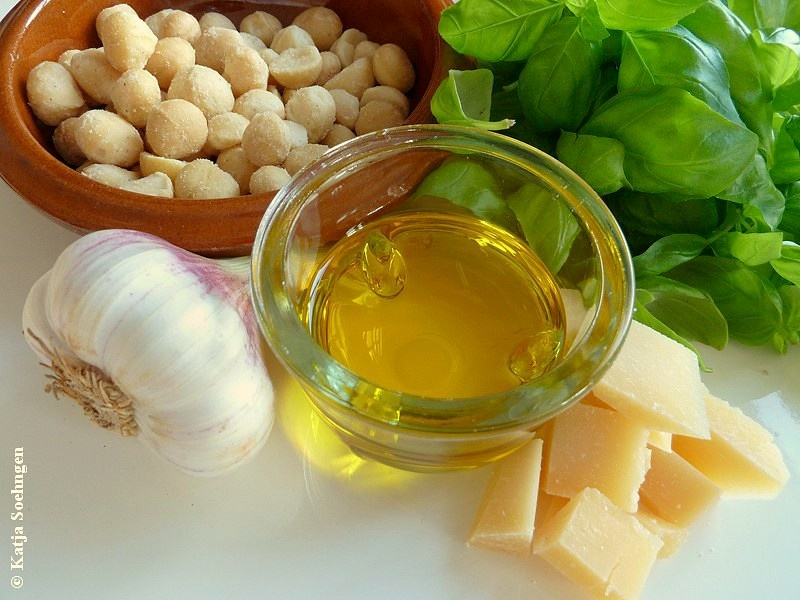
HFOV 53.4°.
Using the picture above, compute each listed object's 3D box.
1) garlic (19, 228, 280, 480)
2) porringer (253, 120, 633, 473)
[{"bbox_3d":[-0.228,0.047,0.725,0.234,0.116,0.193,7,63,-8],"label":"garlic"},{"bbox_3d":[0.019,0.029,0.750,0.290,0.169,0.295,-34,74,-13],"label":"porringer"}]
